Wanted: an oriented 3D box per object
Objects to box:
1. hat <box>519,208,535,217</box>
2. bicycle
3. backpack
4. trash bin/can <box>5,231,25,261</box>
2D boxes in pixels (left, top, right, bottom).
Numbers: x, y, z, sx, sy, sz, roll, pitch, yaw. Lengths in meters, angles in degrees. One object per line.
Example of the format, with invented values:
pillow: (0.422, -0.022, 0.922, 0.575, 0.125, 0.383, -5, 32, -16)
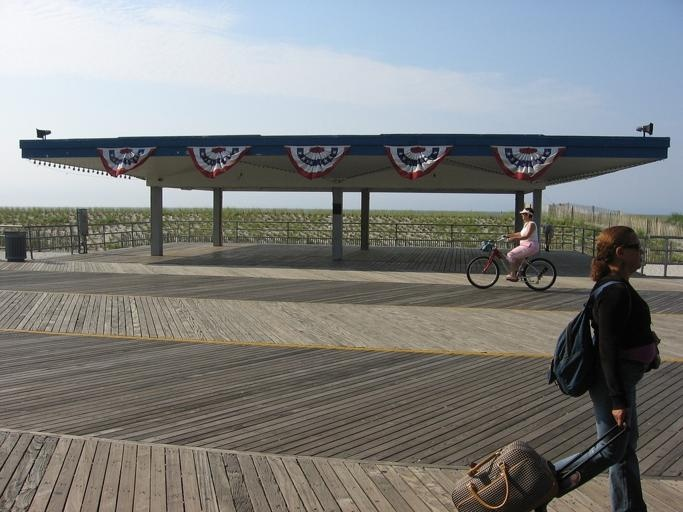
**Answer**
hat: (4.334, -1.026, 12.906, 0.228, 0.183, 0.350, 1, 6, 9)
bicycle: (4.233, 0.236, 13.804, 2.224, 1.101, 1.080, 2, 0, 26)
backpack: (1.676, 0.583, 3.865, 0.469, 0.744, 0.362, 7, 10, 40)
trash bin/can: (-10.988, -0.316, 18.767, 0.643, 1.012, 0.468, -2, 7, -21)
